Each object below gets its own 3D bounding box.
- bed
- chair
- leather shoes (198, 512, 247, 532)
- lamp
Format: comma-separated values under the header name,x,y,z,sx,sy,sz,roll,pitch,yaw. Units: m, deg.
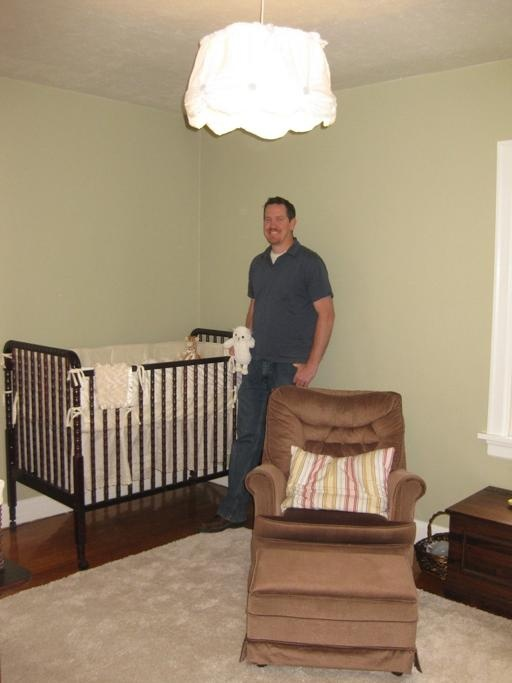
name,x,y,z,sx,sy,sz,roll,pitch,yaw
bed,-0.682,0.478,3.142,0.835,0.894,1.183,1,0,43
chair,0.299,0.618,2.255,0.613,0.711,0.945,1,4,8
leather shoes,-0.182,0.947,3.186,0.255,0.109,0.085,8,-15,-24
lamp,0.009,-0.698,1.668,0.404,0.245,0.329,0,4,0
